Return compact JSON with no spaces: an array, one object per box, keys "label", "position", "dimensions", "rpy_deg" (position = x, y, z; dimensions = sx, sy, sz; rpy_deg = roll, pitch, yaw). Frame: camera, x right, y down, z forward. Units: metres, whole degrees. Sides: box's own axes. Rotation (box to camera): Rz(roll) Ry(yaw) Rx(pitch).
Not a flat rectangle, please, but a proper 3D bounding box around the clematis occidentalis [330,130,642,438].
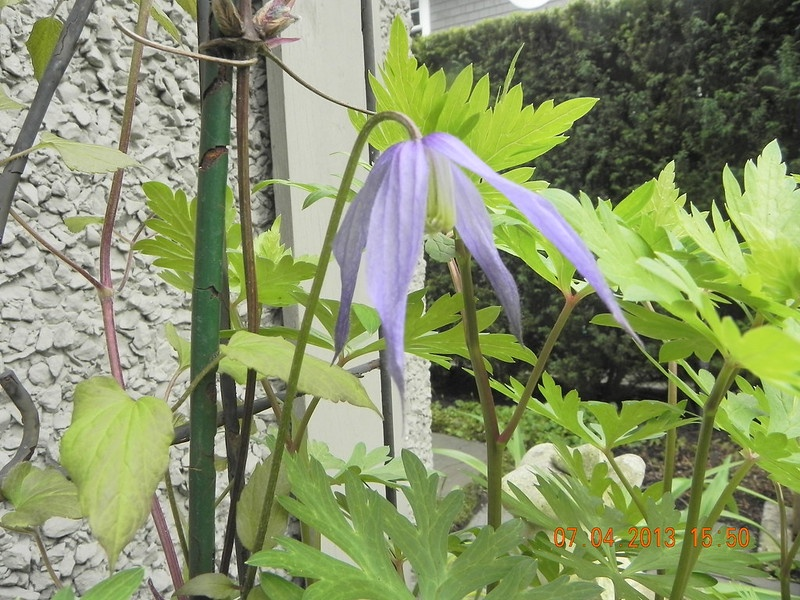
[{"label":"clematis occidentalis","position":[0.079,-0.048,1.172],"dimensions":[0.373,0.289,0.344],"rpy_deg":[-12,-16,-21]}]
